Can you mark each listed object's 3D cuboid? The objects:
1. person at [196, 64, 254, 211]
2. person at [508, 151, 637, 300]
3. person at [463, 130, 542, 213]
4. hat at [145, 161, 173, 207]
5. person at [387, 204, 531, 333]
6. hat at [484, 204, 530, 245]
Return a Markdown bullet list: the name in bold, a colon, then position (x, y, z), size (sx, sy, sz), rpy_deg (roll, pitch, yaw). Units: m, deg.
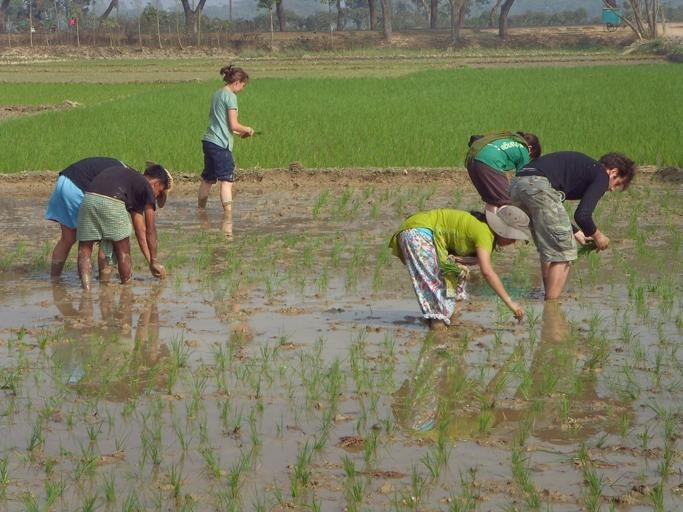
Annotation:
- **person**: position (-1.619, -1.569, 13.903), size (0.471, 2.046, 1.038), rpy_deg (-14, 18, -41)
- **person**: position (2.333, -0.320, 10.536), size (1.175, 1.484, 0.612), rpy_deg (1, 14, 11)
- **person**: position (1.657, -1.057, 11.402), size (0.834, 0.953, 0.657), rpy_deg (-9, 28, -18)
- **hat**: position (-2.026, -0.724, 11.201), size (0.207, 0.582, 0.408), rpy_deg (-3, 57, 9)
- **person**: position (1.087, 0.066, 9.716), size (1.258, 1.251, 0.925), rpy_deg (3, 8, 1)
- **hat**: position (1.555, -0.302, 9.578), size (0.411, 0.329, 0.252), rpy_deg (-2, 14, 1)
